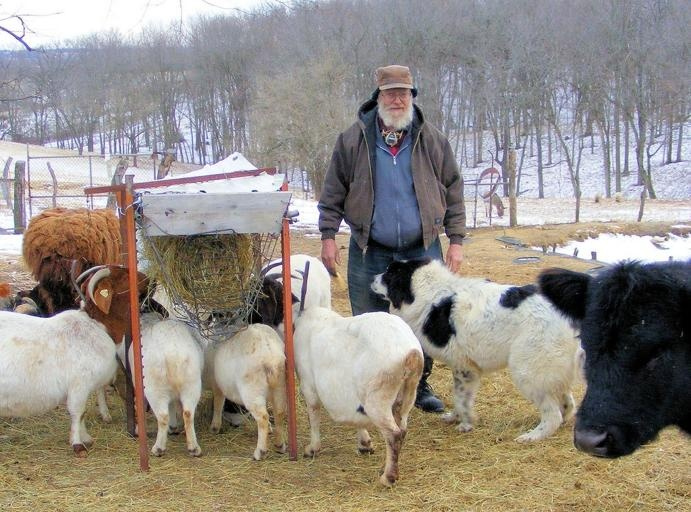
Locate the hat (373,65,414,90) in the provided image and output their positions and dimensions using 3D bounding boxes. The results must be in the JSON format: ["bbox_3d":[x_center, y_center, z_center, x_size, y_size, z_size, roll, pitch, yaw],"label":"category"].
[{"bbox_3d":[0.549,-1.975,9.187,0.393,0.279,0.407,-1,8,4],"label":"hat"}]

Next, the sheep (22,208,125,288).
[{"bbox_3d":[-3.189,-0.112,9.771,0.801,0.918,1.105,-2,1,-14],"label":"sheep"}]

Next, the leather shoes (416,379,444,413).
[{"bbox_3d":[0.960,1.630,9.398,0.169,0.260,0.525,5,-8,-10],"label":"leather shoes"}]
